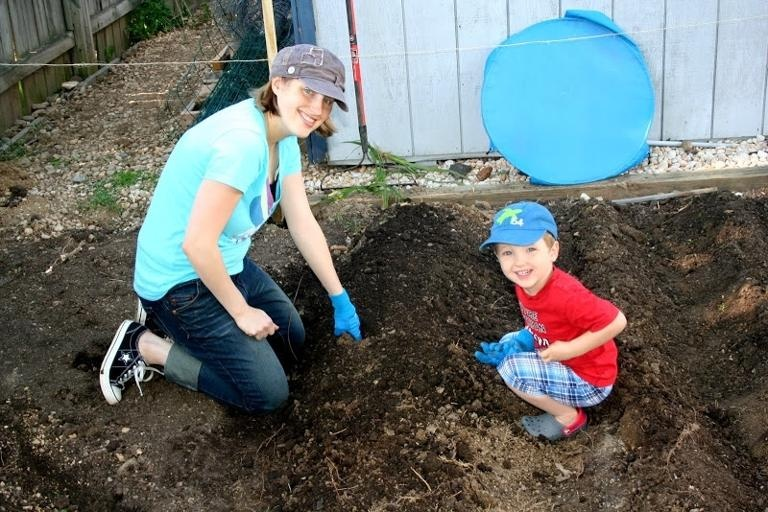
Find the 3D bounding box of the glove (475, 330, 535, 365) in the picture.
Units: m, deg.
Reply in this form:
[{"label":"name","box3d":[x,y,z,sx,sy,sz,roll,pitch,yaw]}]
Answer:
[{"label":"glove","box3d":[0.755,0.573,3.690,0.385,0.162,0.306,-14,6,23]}]

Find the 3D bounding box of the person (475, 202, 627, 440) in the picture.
[{"label":"person","box3d":[0.975,0.372,3.436,0.768,1.324,0.870,-13,16,-37]}]

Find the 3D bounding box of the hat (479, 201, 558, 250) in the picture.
[{"label":"hat","box3d":[0.774,-0.192,3.346,0.489,0.263,0.356,-8,5,-42]}]

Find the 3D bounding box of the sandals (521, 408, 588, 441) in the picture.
[{"label":"sandals","box3d":[0.978,0.979,3.388,0.332,0.138,0.179,-1,39,10]}]

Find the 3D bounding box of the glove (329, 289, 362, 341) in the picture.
[{"label":"glove","box3d":[-0.263,0.389,3.765,0.187,0.456,0.147,0,38,13]}]

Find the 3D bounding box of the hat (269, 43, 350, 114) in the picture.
[{"label":"hat","box3d":[-0.390,-0.995,3.245,0.543,0.290,0.405,18,10,43]}]
